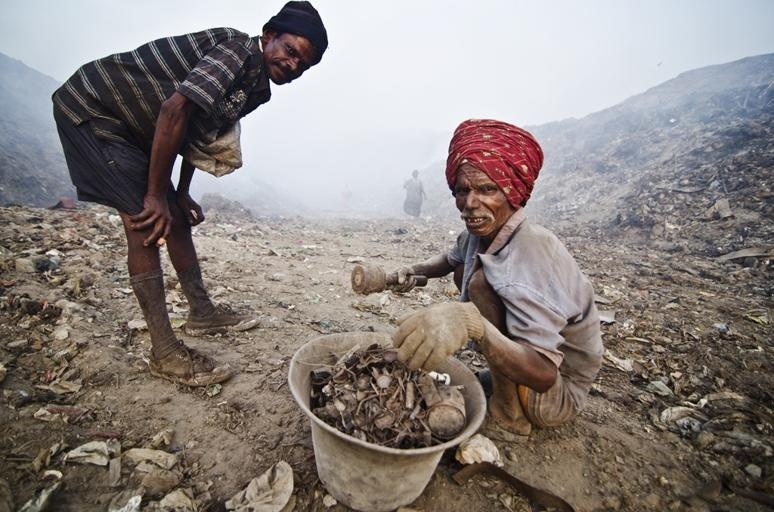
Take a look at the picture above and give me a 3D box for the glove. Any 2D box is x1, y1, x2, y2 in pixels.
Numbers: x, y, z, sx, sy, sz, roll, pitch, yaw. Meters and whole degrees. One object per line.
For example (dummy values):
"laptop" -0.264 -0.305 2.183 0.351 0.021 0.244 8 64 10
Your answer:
"glove" 0.377 0.610 3.083 0.658 0.543 0.256 2 13 2

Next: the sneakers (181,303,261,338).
"sneakers" -1.620 0.597 4.118 0.665 0.263 0.284 -2 2 -27
